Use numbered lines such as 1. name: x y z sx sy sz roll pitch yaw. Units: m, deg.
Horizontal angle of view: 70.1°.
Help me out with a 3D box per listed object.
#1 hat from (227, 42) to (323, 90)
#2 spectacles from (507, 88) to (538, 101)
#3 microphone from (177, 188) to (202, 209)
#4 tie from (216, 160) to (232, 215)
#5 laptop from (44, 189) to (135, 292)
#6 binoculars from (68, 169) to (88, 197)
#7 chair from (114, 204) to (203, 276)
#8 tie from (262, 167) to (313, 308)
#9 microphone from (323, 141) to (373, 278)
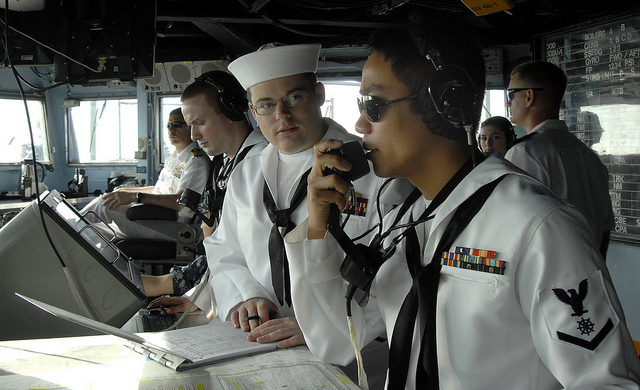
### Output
1. hat: -0.241 -0.705 2.485 0.511 0.250 0.242 -3 10 -11
2. spectacles: 1.388 -0.703 3.179 0.085 0.082 0.216 -9 12 -36
3. microphone: -0.906 0.004 3.189 0.139 0.099 0.125 23 -2 23
4. tie: -0.623 -0.085 2.900 0.106 0.255 0.192 4 9 -25
5. laptop: -1.172 0.207 2.341 0.352 0.473 0.533 -6 11 -24
6. binoculars: -4.021 -0.172 7.577 0.360 0.541 0.125 -7 -15 -3
7. chair: -1.399 0.445 4.465 0.845 0.857 0.701 2 -6 -5
8. tie: -0.179 0.220 2.273 0.296 0.724 0.081 -3 5 -33
9. microphone: 0.118 0.045 1.864 0.170 0.560 0.181 -1 1 3
